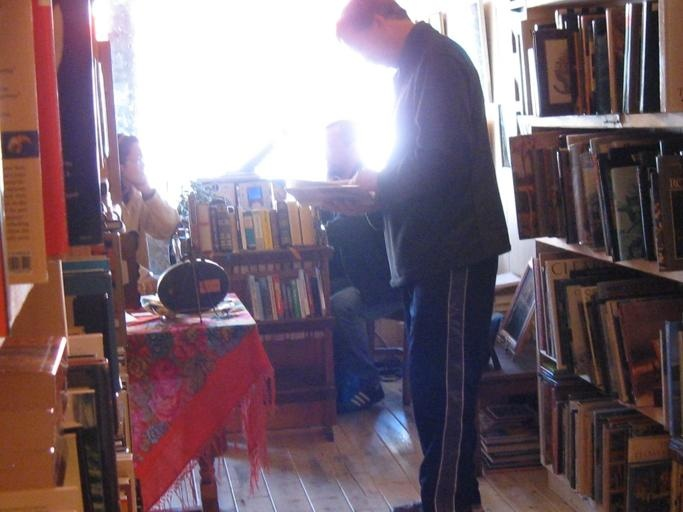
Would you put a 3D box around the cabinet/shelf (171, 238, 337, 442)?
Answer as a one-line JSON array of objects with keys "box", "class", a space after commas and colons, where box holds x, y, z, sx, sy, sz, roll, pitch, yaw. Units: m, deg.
[{"box": [-0.408, 0.516, 3.241, 0.666, 1.166, 0.415, -2, 4, -21], "class": "cabinet/shelf"}]

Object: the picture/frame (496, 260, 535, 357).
[{"box": [0.966, 0.288, 3.115, 0.245, 0.503, 0.360, -2, 0, 2], "class": "picture/frame"}]

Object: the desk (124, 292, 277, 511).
[{"box": [-0.527, 0.478, 2.352, 0.617, 0.652, 0.692, -6, 10, -12], "class": "desk"}]
